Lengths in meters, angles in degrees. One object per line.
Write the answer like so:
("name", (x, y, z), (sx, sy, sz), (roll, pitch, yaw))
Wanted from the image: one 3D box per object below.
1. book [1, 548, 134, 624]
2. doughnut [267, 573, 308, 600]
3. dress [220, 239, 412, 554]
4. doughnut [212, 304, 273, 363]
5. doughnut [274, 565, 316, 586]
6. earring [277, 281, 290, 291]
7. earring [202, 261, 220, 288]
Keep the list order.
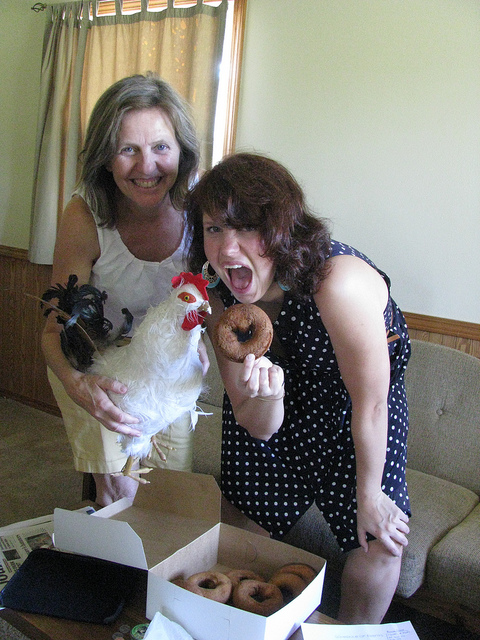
("book", (-0.363, 0.570, 1.195), (0.251, 0.047, 0.178), (9, 8, 7))
("doughnut", (0.099, 0.551, 1.159), (0.055, 0.017, 0.054), (-11, -6, 19))
("dress", (0.315, 0.235, 1.583), (0.197, 0.839, 0.591), (-19, 16, -35))
("doughnut", (0.002, 0.026, 1.079), (0.082, 0.110, 0.095), (2, 11, -36))
("doughnut", (0.128, 0.539, 1.188), (0.049, 0.015, 0.047), (-12, -4, 25))
("earring", (0.097, -0.076, 1.227), (0.027, 0.022, 0.057), (9, 8, 4))
("earring", (-0.071, -0.106, 1.319), (0.020, 0.055, 0.049), (-14, -11, 13))
